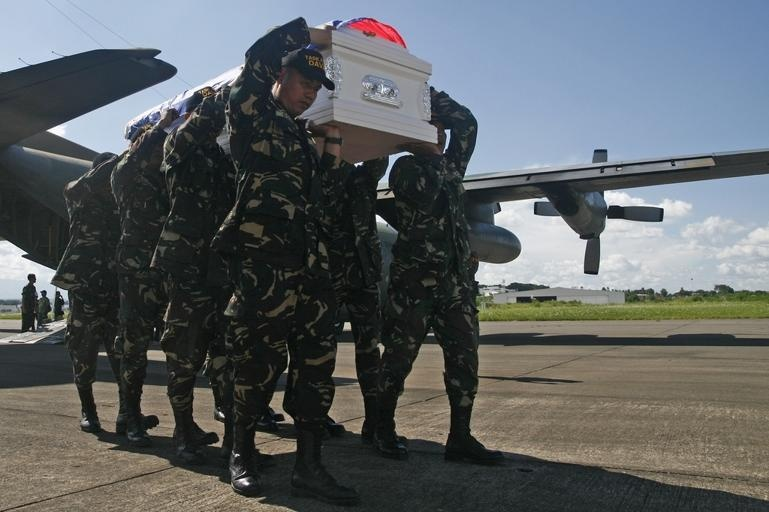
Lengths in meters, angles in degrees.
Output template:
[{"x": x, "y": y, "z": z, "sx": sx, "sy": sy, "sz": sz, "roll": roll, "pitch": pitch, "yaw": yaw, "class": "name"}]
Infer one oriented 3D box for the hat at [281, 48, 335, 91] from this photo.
[{"x": -0.490, "y": -1.271, "z": 4.183, "sx": 0.359, "sy": 0.161, "sz": 0.241, "roll": 27, "pitch": 13, "yaw": 17, "class": "hat"}]
